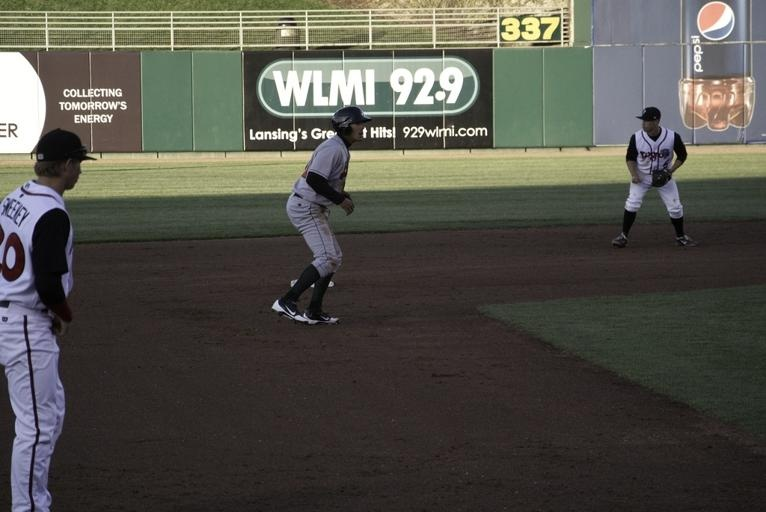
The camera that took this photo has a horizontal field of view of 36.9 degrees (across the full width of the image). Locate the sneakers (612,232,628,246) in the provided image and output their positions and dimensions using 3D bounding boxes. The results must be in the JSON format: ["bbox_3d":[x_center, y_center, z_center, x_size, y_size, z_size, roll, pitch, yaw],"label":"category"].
[{"bbox_3d":[3.678,-0.228,17.797,0.133,0.157,0.360,17,1,25],"label":"sneakers"}]

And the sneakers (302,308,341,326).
[{"bbox_3d":[-0.769,0.747,14.056,0.507,0.214,0.172,1,1,-6],"label":"sneakers"}]

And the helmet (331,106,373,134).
[{"bbox_3d":[-0.380,-1.653,14.037,0.459,0.248,0.296,-5,8,4],"label":"helmet"}]

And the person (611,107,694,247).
[{"bbox_3d":[4.251,-1.273,18.095,1.144,2.138,1.576,0,11,12],"label":"person"}]

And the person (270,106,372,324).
[{"bbox_3d":[-0.751,-0.504,14.064,1.067,2.547,0.762,0,11,16],"label":"person"}]

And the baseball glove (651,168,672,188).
[{"bbox_3d":[4.227,-1.185,17.446,0.284,0.248,0.235,7,1,16],"label":"baseball glove"}]

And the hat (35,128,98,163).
[{"bbox_3d":[-2.927,-1.006,10.564,0.419,0.219,0.293,-1,14,-25],"label":"hat"}]
